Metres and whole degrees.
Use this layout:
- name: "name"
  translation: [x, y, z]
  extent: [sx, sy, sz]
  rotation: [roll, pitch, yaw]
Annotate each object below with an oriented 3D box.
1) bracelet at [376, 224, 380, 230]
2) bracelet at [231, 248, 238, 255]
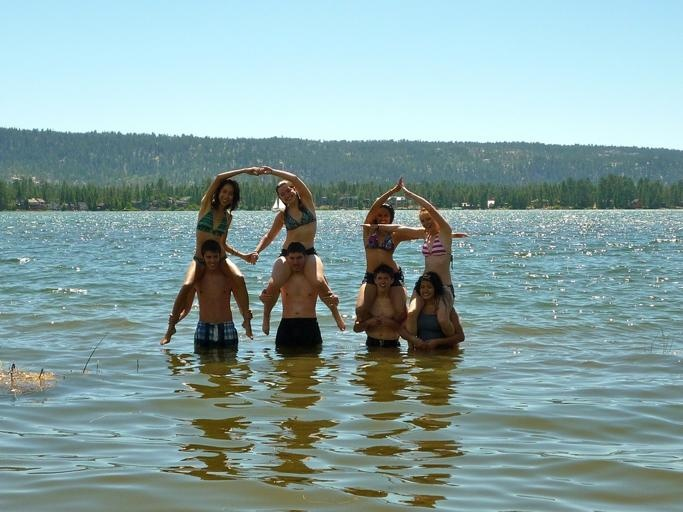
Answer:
- name: "bracelet"
  translation: [0.756, -0.627, 16.655]
  extent: [0.110, 0.110, 0.113]
  rotation: [-1, -4, 0]
- name: "bracelet"
  translation: [-2.328, -0.114, 16.935]
  extent: [0.151, 0.157, 0.159]
  rotation: [1, 4, 16]
